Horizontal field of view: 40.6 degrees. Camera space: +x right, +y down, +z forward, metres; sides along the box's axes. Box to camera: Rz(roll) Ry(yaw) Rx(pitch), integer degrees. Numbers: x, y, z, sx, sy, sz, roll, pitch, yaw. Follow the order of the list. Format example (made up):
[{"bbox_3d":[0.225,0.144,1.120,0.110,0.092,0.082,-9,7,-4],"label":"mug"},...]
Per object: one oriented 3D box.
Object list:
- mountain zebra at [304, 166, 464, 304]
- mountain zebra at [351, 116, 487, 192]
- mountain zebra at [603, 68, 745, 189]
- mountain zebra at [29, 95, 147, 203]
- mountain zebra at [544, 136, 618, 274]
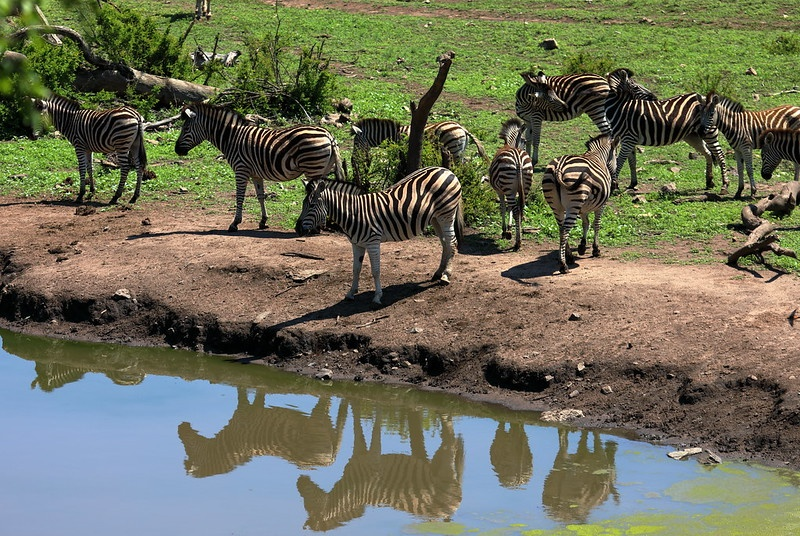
[{"bbox_3d":[-0.362,-0.745,21.893,3.956,2.625,1.139,-11,12,-30],"label":"mountain zebra"},{"bbox_3d":[0.371,-2.776,26.201,3.410,1.786,0.877,0,9,5],"label":"mountain zebra"},{"bbox_3d":[6.174,-3.342,26.381,3.737,2.666,1.079,4,1,2],"label":"mountain zebra"},{"bbox_3d":[-7.754,-2.967,26.535,3.555,2.518,0.963,4,6,22],"label":"mountain zebra"},{"bbox_3d":[3.728,-1.393,22.603,1.173,2.486,2.390,7,18,24],"label":"mountain zebra"}]
